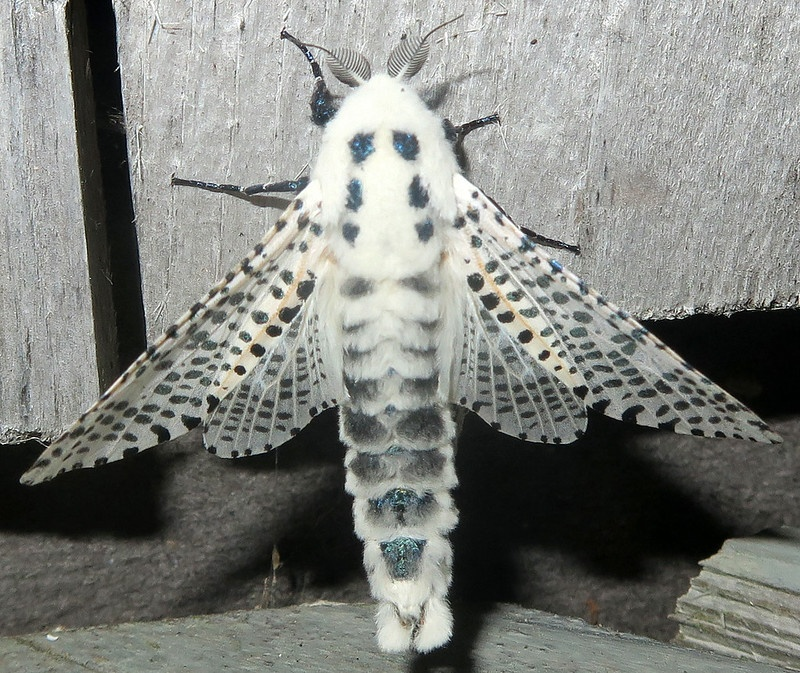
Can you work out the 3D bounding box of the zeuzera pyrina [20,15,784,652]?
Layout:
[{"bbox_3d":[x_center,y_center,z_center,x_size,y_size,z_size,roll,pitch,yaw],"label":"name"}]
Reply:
[{"bbox_3d":[0.004,-0.014,3.880,1.758,1.675,0.558,8,8,11],"label":"zeuzera pyrina"}]
